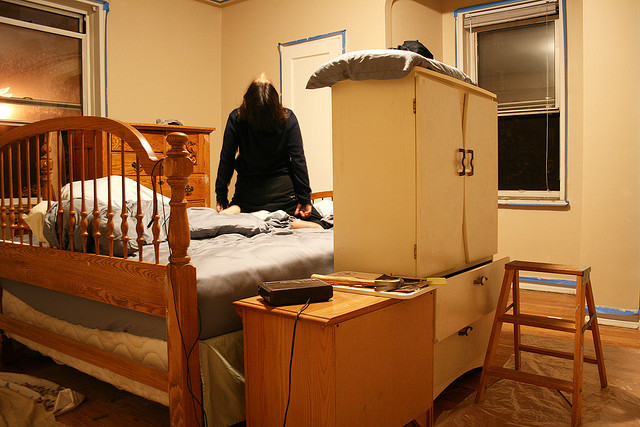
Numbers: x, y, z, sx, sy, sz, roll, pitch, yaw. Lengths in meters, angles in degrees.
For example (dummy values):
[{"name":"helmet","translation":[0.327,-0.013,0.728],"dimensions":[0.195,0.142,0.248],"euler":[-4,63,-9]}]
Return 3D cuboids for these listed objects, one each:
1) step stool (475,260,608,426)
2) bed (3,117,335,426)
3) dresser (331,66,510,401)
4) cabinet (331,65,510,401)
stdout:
[{"name":"step stool","translation":[1.395,0.829,3.013],"dimensions":[0.777,1.124,0.990],"euler":[1,2,36]},{"name":"bed","translation":[-0.732,0.388,3.253],"dimensions":[1.963,1.271,2.038],"euler":[2,3,31]},{"name":"dresser","translation":[0.668,0.092,2.978],"dimensions":[0.708,1.787,1.073],"euler":[2,5,36]},{"name":"cabinet","translation":[0.677,0.089,2.983],"dimensions":[0.689,1.762,1.059],"euler":[3,5,43]}]
